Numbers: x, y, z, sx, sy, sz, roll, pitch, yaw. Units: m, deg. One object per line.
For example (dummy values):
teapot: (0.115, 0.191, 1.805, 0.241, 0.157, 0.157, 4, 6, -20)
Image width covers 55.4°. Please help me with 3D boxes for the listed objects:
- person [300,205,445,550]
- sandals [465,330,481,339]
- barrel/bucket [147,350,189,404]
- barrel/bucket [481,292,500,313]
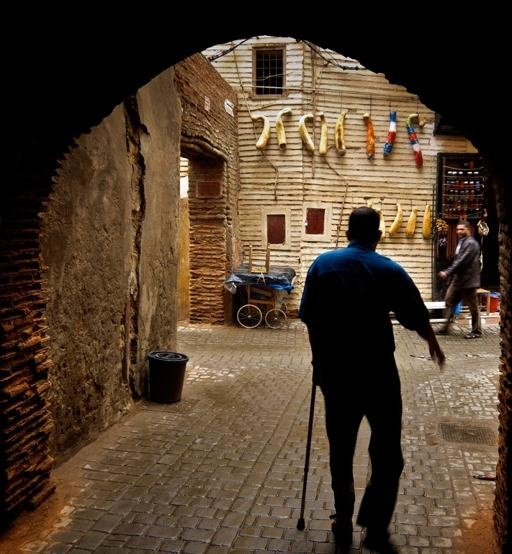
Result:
person: (0.656, 0.637, 3.054, 0.784, 2.150, 0.332, 1, 1, 3)
sandals: (4.908, 1.315, 11.044, 0.380, 0.196, 0.152, 3, 0, 13)
barrel/bucket: (-1.158, 1.334, 6.480, 0.539, 0.622, 0.559, 3, 1, 0)
barrel/bucket: (6.205, 0.695, 13.038, 0.452, 0.570, 0.969, 2, 1, 25)
